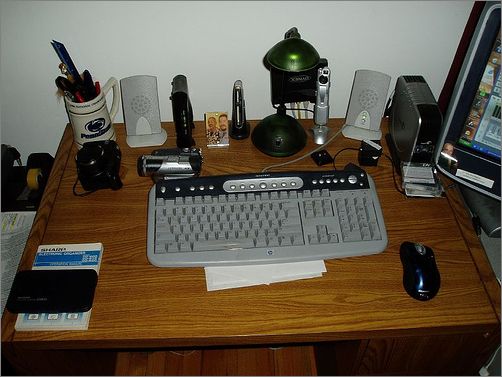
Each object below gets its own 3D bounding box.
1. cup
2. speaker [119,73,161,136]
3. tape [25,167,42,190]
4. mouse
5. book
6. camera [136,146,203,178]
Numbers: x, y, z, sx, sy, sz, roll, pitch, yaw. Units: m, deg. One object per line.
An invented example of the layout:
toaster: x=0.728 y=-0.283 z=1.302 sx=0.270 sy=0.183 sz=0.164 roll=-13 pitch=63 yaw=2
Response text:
cup: x=-0.512 y=-0.249 z=1.333 sx=0.122 sy=0.191 sz=0.195 roll=34 pitch=49 yaw=26
speaker: x=-0.369 y=-0.289 z=1.329 sx=0.113 sy=0.193 sz=0.048 roll=-3 pitch=26 yaw=-3
tape: x=-0.734 y=-0.034 z=1.348 sx=0.027 sy=0.054 sz=0.053 roll=4 pitch=27 yaw=-1
mouse: x=0.442 y=0.218 z=1.042 sx=0.077 sy=0.049 sz=0.154 roll=10 pitch=56 yaw=-3
book: x=-0.515 y=0.262 z=1.069 sx=0.188 sy=0.265 sz=0.024 roll=12 pitch=14 yaw=-34
camera: x=-0.251 y=-0.087 z=1.240 sx=0.155 sy=0.065 sz=0.101 roll=-2 pitch=39 yaw=4
